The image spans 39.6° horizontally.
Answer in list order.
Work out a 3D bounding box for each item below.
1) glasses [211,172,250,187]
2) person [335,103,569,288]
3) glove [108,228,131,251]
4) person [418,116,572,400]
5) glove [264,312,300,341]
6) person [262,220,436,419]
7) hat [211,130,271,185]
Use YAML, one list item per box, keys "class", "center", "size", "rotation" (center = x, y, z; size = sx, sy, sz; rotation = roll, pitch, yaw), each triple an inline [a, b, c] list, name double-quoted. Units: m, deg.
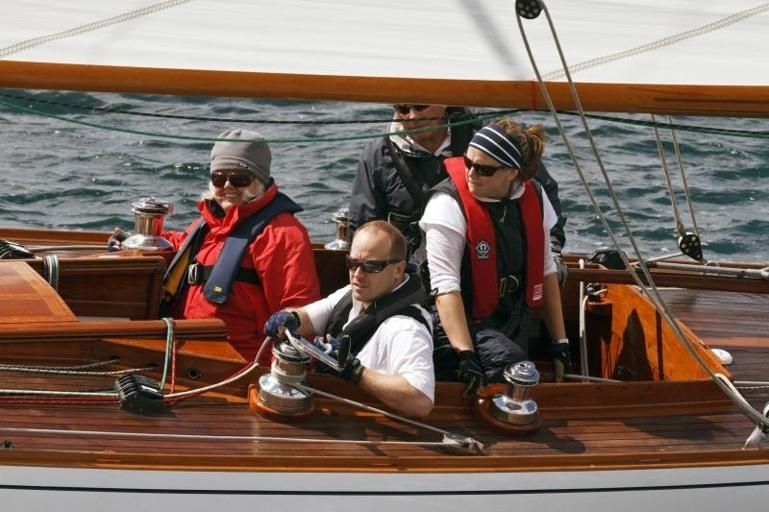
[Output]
- class: "glasses"
  center: [-0.827, -0.407, 5.873]
  size: [0.162, 0.032, 0.123]
  rotation: [0, -9, 5]
- class: "person"
  center: [0.372, -0.314, 5.737]
  size: [1.507, 0.905, 0.608]
  rotation: [-9, 38, -7]
- class: "glove"
  center: [-1.621, -0.083, 6.436]
  size: [0.084, 0.101, 0.178]
  rotation: [11, -19, -16]
- class: "person"
  center: [0.575, -0.009, 5.462]
  size: [0.762, 1.383, 1.004]
  rotation: [-1, 12, 7]
- class: "glove"
  center: [-0.476, 0.323, 5.018]
  size: [0.158, 0.115, 0.196]
  rotation: [-3, 9, -7]
- class: "person"
  center: [-0.130, 0.294, 5.171]
  size: [0.744, 0.897, 0.746]
  rotation: [-2, 12, 1]
- class: "hat"
  center: [-0.755, -0.544, 6.009]
  size: [0.442, 0.218, 0.368]
  rotation: [5, -9, 13]
